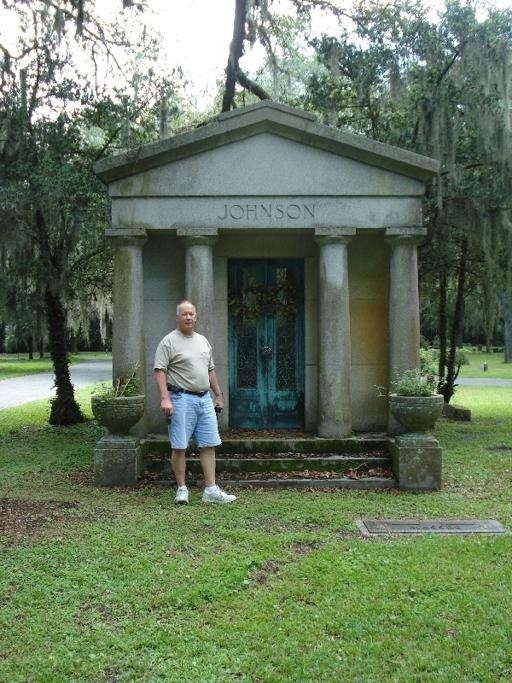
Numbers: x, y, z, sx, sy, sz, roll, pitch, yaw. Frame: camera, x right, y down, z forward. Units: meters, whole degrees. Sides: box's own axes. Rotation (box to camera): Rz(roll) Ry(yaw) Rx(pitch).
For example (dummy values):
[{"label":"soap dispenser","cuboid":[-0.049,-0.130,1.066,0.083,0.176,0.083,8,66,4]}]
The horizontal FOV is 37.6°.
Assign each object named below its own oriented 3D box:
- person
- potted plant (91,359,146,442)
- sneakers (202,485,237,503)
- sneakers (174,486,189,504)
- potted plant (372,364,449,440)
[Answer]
[{"label":"person","cuboid":[-0.599,0.607,7.383,0.777,1.977,0.517,-2,5,-20]},{"label":"potted plant","cuboid":[-1.524,0.692,8.437,0.598,0.744,0.578,-3,1,-14]},{"label":"sneakers","cuboid":[-0.366,1.511,7.485,0.334,0.145,0.146,0,3,-10]},{"label":"sneakers","cuboid":[-0.741,1.528,7.481,0.119,0.141,0.328,0,-9,-6]},{"label":"potted plant","cuboid":[1.892,0.739,8.285,0.637,0.676,0.613,7,0,-15]}]
